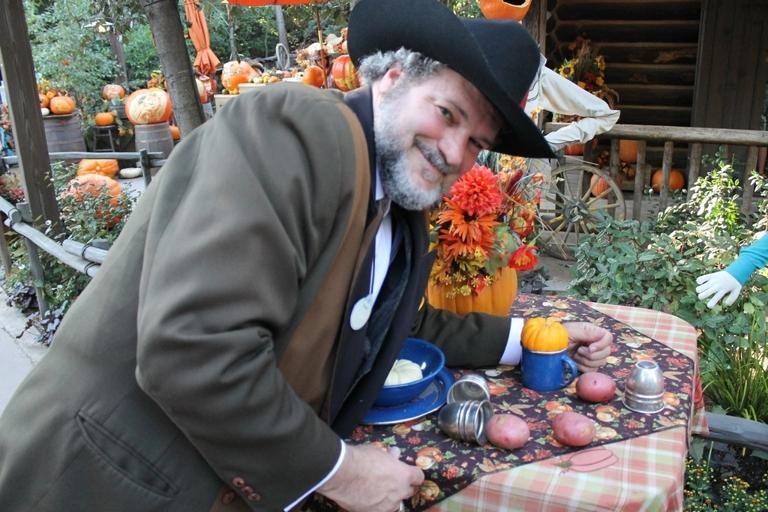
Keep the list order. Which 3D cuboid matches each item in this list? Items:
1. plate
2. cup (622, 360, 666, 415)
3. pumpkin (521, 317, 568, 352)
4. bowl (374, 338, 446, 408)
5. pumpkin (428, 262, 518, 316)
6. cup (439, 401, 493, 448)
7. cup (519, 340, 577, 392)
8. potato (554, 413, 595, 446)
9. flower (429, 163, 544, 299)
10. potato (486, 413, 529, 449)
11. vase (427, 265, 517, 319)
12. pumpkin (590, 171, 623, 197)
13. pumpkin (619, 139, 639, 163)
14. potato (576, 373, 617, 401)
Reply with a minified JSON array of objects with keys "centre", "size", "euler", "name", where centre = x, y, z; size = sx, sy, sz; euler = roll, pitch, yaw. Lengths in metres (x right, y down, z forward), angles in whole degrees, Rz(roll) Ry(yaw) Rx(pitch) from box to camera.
[{"centre":[0.079,0.490,1.947],"size":[0.265,0.151,0.352],"euler":[-5,16,-1],"name":"plate"},{"centre":[0.927,0.453,1.873],"size":[0.143,0.161,0.154],"euler":[3,16,-1],"name":"cup"},{"centre":[0.606,0.309,1.948],"size":[0.124,0.126,0.128],"euler":[0,6,-13],"name":"pumpkin"},{"centre":[0.126,0.450,1.962],"size":[0.269,0.228,0.385],"euler":[0,16,7],"name":"bowl"},{"centre":[0.407,0.160,2.308],"size":[0.272,0.264,0.254],"euler":[-1,0,-41],"name":"pumpkin"},{"centre":[0.276,0.534,1.793],"size":[0.187,0.148,0.154],"euler":[9,16,36],"name":"cup"},{"centre":[0.621,0.429,2.004],"size":[0.204,0.157,0.131],"euler":[7,12,41],"name":"cup"},{"centre":[0.625,0.562,1.694],"size":[0.092,0.069,0.117],"euler":[14,-3,-10],"name":"potato"},{"centre":[0.398,-0.101,2.269],"size":[0.509,0.548,0.542],"euler":[-12,-30,11],"name":"flower"},{"centre":[0.412,0.567,1.685],"size":[0.092,0.073,0.123],"euler":[8,4,-8],"name":"potato"},{"centre":[0.387,0.157,2.337],"size":[0.317,0.236,0.321],"euler":[-15,26,-42],"name":"vase"},{"centre":[3.195,-1.028,7.435],"size":[0.414,0.620,0.458],"euler":[1,14,13],"name":"pumpkin"},{"centre":[4.581,-1.955,9.657],"size":[0.268,0.431,0.399],"euler":[4,20,19],"name":"pumpkin"},{"centre":[0.770,0.476,1.870],"size":[0.104,0.058,0.109],"euler":[-4,46,23],"name":"potato"}]
